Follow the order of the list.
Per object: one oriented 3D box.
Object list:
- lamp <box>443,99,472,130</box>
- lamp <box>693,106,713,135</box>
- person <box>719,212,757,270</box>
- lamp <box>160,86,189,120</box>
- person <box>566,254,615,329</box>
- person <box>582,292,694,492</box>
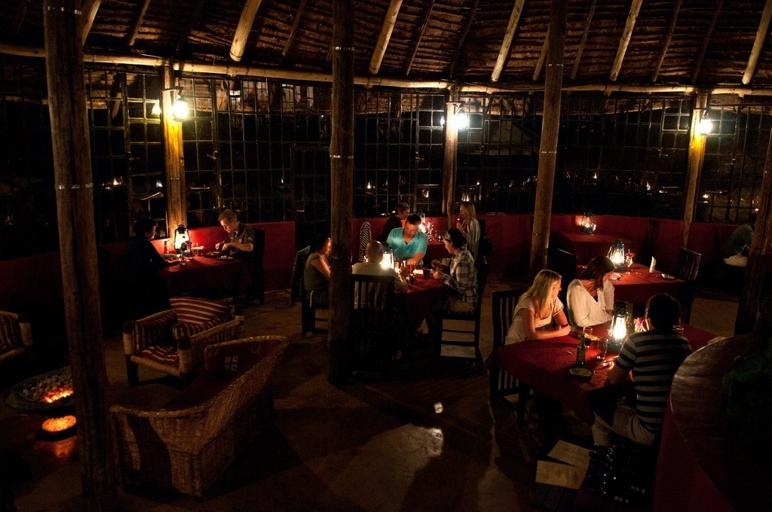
[{"bbox_3d":[1.546,-2.973,12.060,0.540,0.939,0.552,-10,18,-31],"label":"lamp"},{"bbox_3d":[6.492,-2.729,11.722,0.270,0.534,0.382,3,11,13],"label":"lamp"},{"bbox_3d":[6.832,-0.192,11.130,0.429,0.799,0.603,8,13,31],"label":"person"},{"bbox_3d":[-3.545,-2.534,9.606,0.528,0.540,0.285,12,15,44],"label":"lamp"},{"bbox_3d":[2.634,0.486,7.380,0.461,0.894,0.626,17,28,42],"label":"person"},{"bbox_3d":[2.493,1.233,5.637,0.826,1.720,0.413,7,12,31],"label":"person"}]
